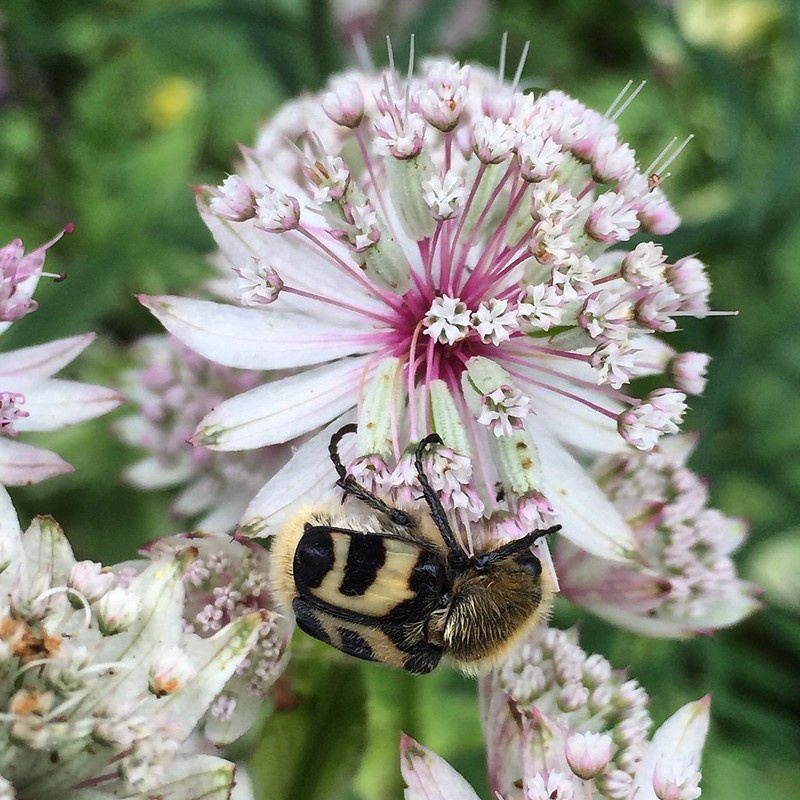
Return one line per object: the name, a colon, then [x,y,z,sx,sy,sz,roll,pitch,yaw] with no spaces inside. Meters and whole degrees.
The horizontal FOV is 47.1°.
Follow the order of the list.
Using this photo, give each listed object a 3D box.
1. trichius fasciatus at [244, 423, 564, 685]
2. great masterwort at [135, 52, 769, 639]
trichius fasciatus: [0.019,0.248,1.299,0.435,0.114,0.328,7,-62,-18]
great masterwort: [-0.011,0.025,1.677,0.850,1.138,0.927,7,40,17]
